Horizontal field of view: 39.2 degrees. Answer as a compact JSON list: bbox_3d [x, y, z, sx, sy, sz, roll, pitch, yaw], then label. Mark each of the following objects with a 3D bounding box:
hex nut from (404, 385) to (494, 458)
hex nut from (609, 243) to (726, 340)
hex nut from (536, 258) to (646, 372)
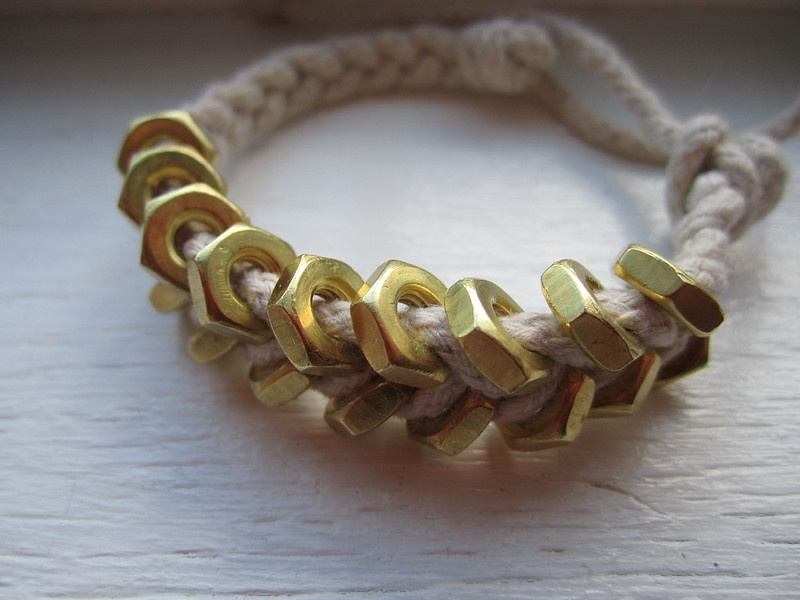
[{"bbox_3d":[0.073,0.171,1.624,0.100,0.057,0.097,33,64,22],"label":"hex nut"},{"bbox_3d":[0.407,0.001,1.688,0.175,0.191,0.056,37,85,11],"label":"hex nut"},{"bbox_3d":[0.276,0.029,1.656,0.068,0.193,0.187,-43,93,9],"label":"hex nut"}]
